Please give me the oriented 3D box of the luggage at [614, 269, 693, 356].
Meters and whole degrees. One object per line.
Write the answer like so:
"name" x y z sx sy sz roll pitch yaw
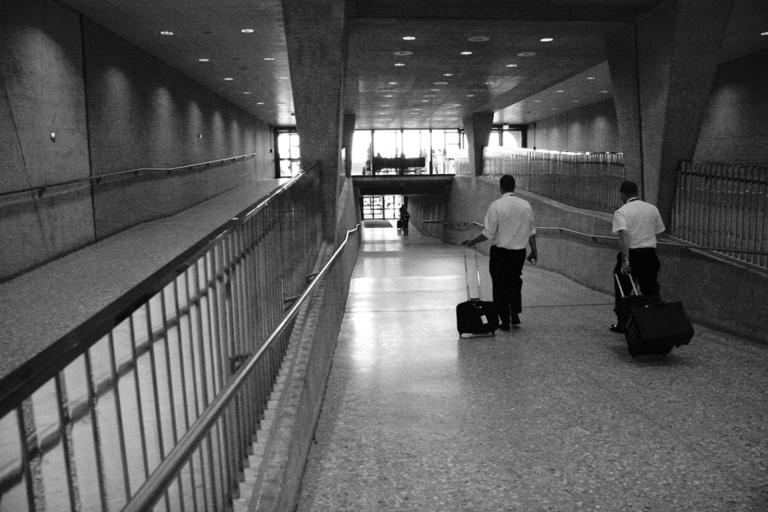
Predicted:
"luggage" 3.028 0.534 5.956 0.691 0.989 0.578 -4 -20 -12

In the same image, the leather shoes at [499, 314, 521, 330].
"leather shoes" 1.787 0.896 7.257 0.294 0.262 0.240 -2 13 -7
